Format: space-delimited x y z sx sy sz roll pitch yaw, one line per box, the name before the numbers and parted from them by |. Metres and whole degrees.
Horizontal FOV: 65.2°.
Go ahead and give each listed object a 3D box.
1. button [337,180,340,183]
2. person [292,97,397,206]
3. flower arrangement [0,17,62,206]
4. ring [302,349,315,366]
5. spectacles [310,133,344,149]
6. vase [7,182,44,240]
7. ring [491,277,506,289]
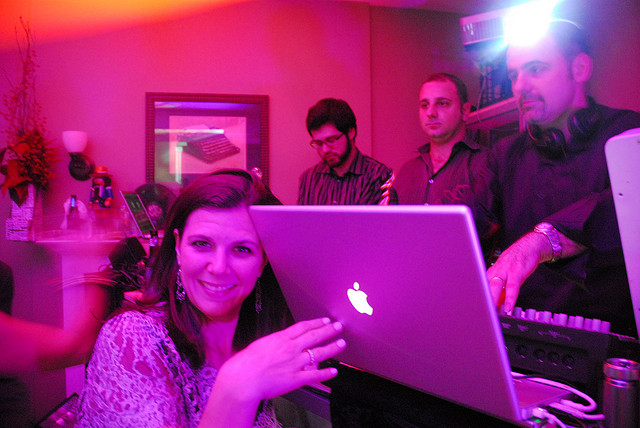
button | 0.147 -0.263 3.961 0.017 0.014 0.017 9 -2 32
person | 0.186 -0.435 4.088 0.988 0.904 0.575 -2 7 42
flower arrangement | -2.402 -0.853 4.071 0.482 1.528 0.469 -5 10 -28
ring | -0.043 0.533 1.871 0.018 0.054 0.044 -14 17 -21
spectacles | 0.046 -0.574 3.913 0.275 0.121 0.066 4 10 27
vase | -2.369 -0.030 4.038 0.277 0.460 0.147 -6 11 -31
ring | 0.770 0.292 2.142 0.033 0.043 0.016 8 50 44
